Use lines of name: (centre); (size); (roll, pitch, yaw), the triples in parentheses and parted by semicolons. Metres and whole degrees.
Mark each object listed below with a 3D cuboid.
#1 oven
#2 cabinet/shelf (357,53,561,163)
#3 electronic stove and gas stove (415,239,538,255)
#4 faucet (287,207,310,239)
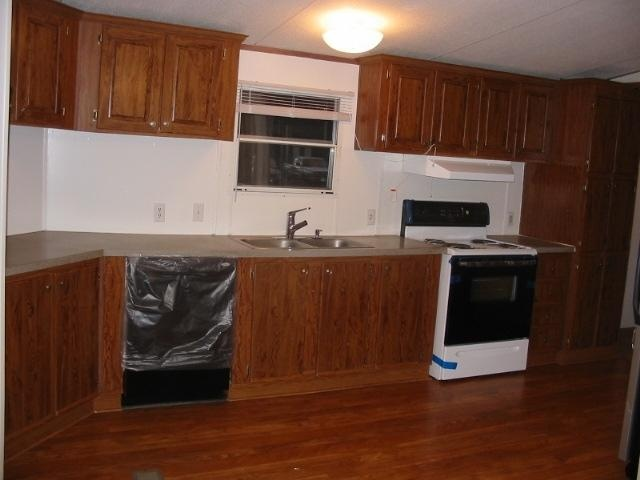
oven: (1.367, 0.610, 4.635); (0.856, 1.055, 0.720); (1, 3, -15)
cabinet/shelf: (1.269, -1.116, 4.504); (1.761, 0.758, 0.211); (-2, 14, -23)
electronic stove and gas stove: (1.356, 0.045, 4.529); (0.969, 0.061, 0.516); (-1, 14, -20)
faucet: (-0.176, -0.155, 4.272); (0.192, 0.269, 0.356); (4, 13, -2)
